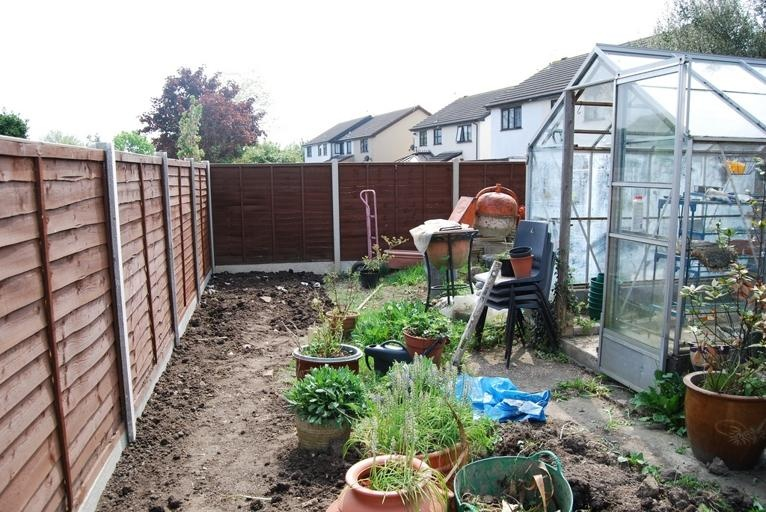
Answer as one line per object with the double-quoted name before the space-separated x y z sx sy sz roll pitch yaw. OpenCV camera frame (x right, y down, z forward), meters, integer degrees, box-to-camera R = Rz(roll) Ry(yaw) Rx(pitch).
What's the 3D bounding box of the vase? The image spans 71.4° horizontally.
"vase" 1.015 0.101 8.381 0.963 1.255 1.032 2 9 38
